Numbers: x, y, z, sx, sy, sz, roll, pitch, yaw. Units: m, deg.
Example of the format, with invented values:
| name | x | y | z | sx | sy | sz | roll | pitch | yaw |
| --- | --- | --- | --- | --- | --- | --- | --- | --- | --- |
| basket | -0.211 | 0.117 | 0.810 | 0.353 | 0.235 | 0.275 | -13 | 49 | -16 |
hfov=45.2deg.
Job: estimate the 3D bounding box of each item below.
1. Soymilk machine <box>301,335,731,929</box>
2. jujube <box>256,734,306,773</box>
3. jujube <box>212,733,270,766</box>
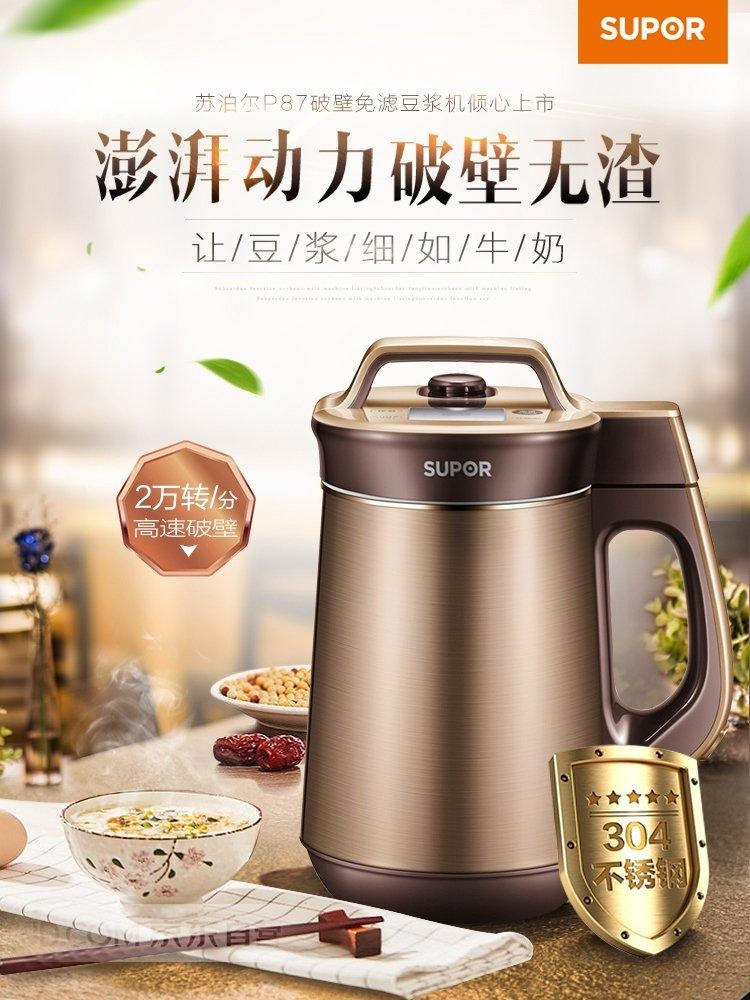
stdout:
| name | x | y | z | sx | sy | sz | roll | pitch | yaw |
| --- | --- | --- | --- | --- | --- | --- | --- | --- | --- |
| Soymilk machine | 0.119 | 0.109 | 0.771 | 0.364 | 0.412 | 0.233 | 0 | 3 | -6 |
| jujube | -0.106 | 0.286 | 1.017 | 0.056 | 0.038 | 0.038 | -2 | 0 | -14 |
| jujube | -0.154 | 0.284 | 1.030 | 0.060 | 0.029 | 0.027 | -2 | 0 | -12 |
